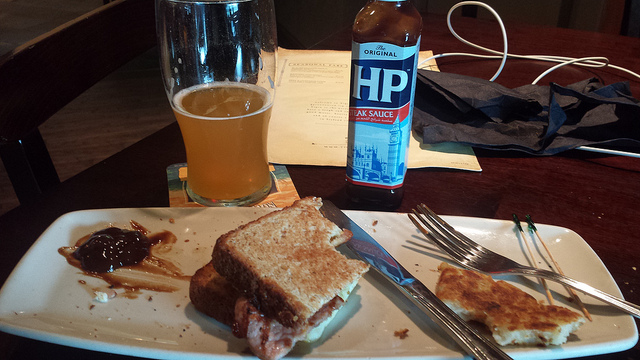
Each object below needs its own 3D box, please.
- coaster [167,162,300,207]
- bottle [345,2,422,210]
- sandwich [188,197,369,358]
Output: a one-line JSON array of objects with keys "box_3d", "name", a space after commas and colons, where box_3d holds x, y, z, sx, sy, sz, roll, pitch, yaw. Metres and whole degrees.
[{"box_3d": [-0.220, 0.016, 1.129, 0.322, 0.002, 0.205, -1, 40, -17], "name": "coaster"}, {"box_3d": [0.139, -0.162, 1.045, 0.161, 0.463, 0.160, 3, 32, -2], "name": "bottle"}, {"box_3d": [-0.074, 0.184, 0.946, 0.271, 0.165, 0.332, 26, 36, 33], "name": "sandwich"}]
